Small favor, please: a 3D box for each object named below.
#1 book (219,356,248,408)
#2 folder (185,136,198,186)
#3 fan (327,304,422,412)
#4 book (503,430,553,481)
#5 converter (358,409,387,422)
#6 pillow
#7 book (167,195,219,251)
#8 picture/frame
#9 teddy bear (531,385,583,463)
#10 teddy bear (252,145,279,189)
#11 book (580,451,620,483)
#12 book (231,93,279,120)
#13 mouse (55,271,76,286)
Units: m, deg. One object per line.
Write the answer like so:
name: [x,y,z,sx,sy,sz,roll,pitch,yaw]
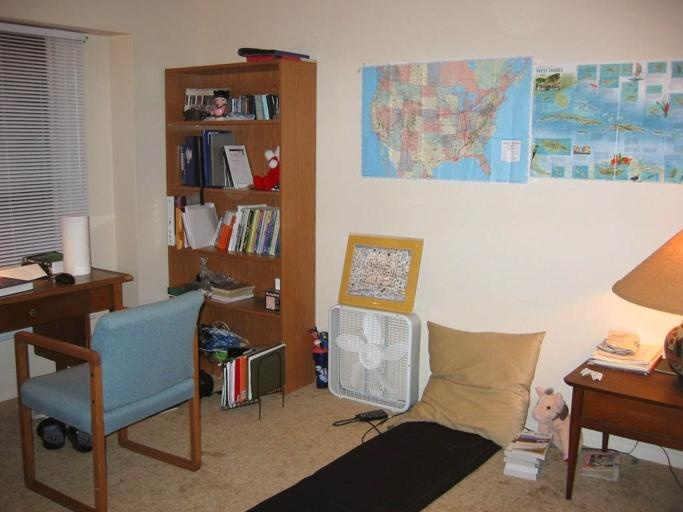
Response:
book: [-0.728,0.864,3.766,0.097,0.325,0.242,2,-1,22]
folder: [-1.167,-0.756,4.433,0.041,0.401,0.292,-10,7,-33]
fan: [0.254,0.714,3.912,0.678,0.675,0.241,7,10,29]
book: [1.104,1.177,3.305,0.191,0.080,0.270,5,14,25]
converter: [0.208,1.101,3.815,0.146,0.034,0.080,-3,6,-19]
pillow: [0.864,0.822,3.615,0.777,0.570,0.479,2,11,42]
book: [-1.235,-0.270,4.542,0.429,0.424,0.237,-1,10,-19]
picture/frame: [0.300,0.148,3.944,0.545,0.509,0.038,6,-7,28]
teddy bear: [1.375,1.008,3.484,0.396,0.397,0.253,-13,13,-28]
teddy bear: [-0.588,-0.682,4.267,0.194,0.328,0.365,-2,14,-10]
book: [1.556,1.261,3.327,0.238,0.049,0.252,-13,7,22]
book: [-0.672,-1.097,4.248,0.388,0.226,0.421,-2,8,-16]
mouse: [-1.782,0.140,3.553,0.136,0.048,0.080,9,7,30]
